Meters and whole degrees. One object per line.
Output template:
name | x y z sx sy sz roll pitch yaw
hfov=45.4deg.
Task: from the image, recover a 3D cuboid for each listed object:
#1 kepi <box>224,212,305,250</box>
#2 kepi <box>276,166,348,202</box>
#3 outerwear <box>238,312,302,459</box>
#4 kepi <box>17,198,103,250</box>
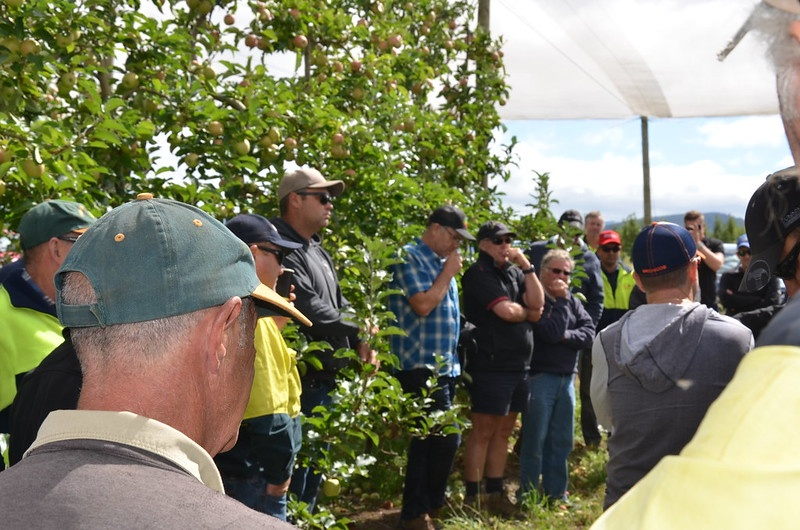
kepi | -0.844 -0.216 5.706 0.338 0.139 0.217 17 6 -6
kepi | -0.593 -0.589 6.730 0.469 0.247 0.327 -5 -6 34
outerwear | -0.739 0.568 5.483 0.307 0.546 0.552 -1 -7 -11
kepi | -1.873 -0.258 5.324 0.454 0.279 0.333 -9 0 -14
